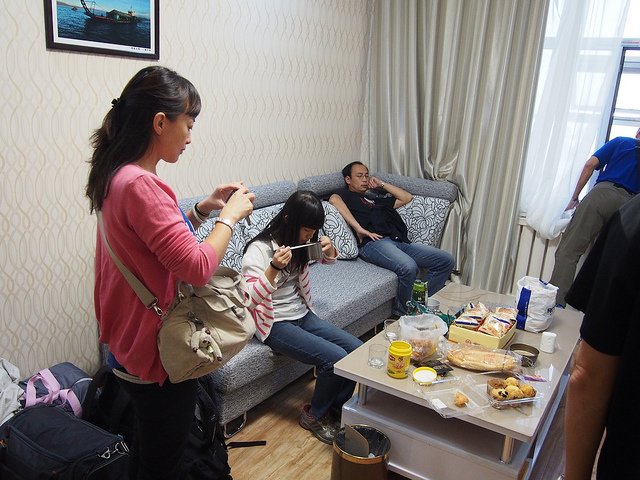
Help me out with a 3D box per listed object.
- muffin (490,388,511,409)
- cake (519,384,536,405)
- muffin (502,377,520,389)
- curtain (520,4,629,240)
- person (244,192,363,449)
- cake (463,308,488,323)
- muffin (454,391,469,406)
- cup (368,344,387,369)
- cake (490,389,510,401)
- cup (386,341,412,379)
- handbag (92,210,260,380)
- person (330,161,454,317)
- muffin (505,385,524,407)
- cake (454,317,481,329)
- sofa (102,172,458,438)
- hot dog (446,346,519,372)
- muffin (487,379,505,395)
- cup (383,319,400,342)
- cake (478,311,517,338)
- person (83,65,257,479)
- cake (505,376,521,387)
[{"bbox_3d":[0.752,0.652,1.870,0.065,0.053,0.070,10,24,22],"label":"muffin"},{"bbox_3d":[0.879,0.642,1.903,0.066,0.045,0.071,11,22,27],"label":"cake"},{"bbox_3d":[0.818,0.616,1.932,0.046,0.027,0.043,12,58,34],"label":"muffin"},{"bbox_3d":[2.017,-0.930,3.636,0.564,1.825,0.385,11,21,30],"label":"curtain"},{"bbox_3d":[-0.082,0.400,2.520,0.636,1.343,0.553,8,14,28],"label":"person"},{"bbox_3d":[0.821,0.392,2.352,0.070,0.023,0.069,19,33,38],"label":"cake"},{"bbox_3d":[0.593,0.670,1.875,0.046,0.019,0.047,-22,53,-27],"label":"muffin"},{"bbox_3d":[0.279,0.558,2.157,0.086,0.087,0.077,7,10,44],"label":"cup"},{"bbox_3d":[0.754,0.657,1.878,0.068,0.040,0.038,-3,19,-10],"label":"cake"},{"bbox_3d":[0.358,0.547,2.095,0.127,0.149,0.115,-4,22,-20],"label":"cup"},{"bbox_3d":[-0.424,0.137,1.490,0.314,0.603,0.448,-11,11,14],"label":"handbag"},{"bbox_3d":[0.597,-0.028,3.751,0.619,1.403,0.932,3,-8,-44],"label":"person"},{"bbox_3d":[0.814,0.656,1.878,0.058,0.081,0.042,0,-8,-4],"label":"muffin"},{"bbox_3d":[0.749,0.424,2.280,0.060,0.026,0.063,7,15,27],"label":"cake"},{"bbox_3d":[-0.003,0.159,3.335,1.026,1.123,2.978,16,25,39],"label":"sofa"},{"bbox_3d":[0.748,0.553,2.095,0.224,0.070,0.125,1,15,20],"label":"hot dog"},{"bbox_3d":[0.758,0.622,1.925,0.052,0.054,0.056,13,19,35],"label":"muffin"},{"bbox_3d":[0.383,0.484,2.396,0.093,0.103,0.082,-4,10,-28],"label":"cup"},{"bbox_3d":[0.880,0.432,2.240,0.105,0.036,0.116,15,44,34],"label":"cake"},{"bbox_3d":[-0.551,0.304,1.733,0.577,1.823,0.787,-10,21,-29],"label":"person"},{"bbox_3d":[0.833,0.615,1.945,0.045,0.028,0.049,-6,24,-1],"label":"cake"}]
